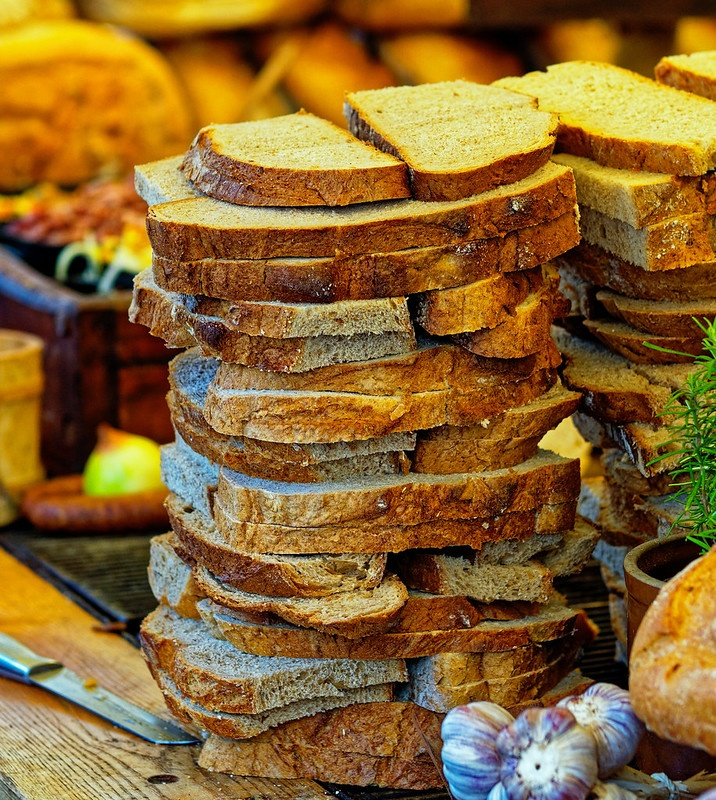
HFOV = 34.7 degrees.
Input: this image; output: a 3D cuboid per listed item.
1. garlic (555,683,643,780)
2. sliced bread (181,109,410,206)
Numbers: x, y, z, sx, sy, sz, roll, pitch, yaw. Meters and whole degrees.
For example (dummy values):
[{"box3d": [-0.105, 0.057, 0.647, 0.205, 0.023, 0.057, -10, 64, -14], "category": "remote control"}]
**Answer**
[{"box3d": [0.211, 0.287, 1.022, 0.085, 0.039, 0.076, -20, 24, 21], "category": "garlic"}, {"box3d": [-0.047, -0.283, 1.387, 0.213, 0.043, 0.211, 4, 21, -6], "category": "sliced bread"}]
